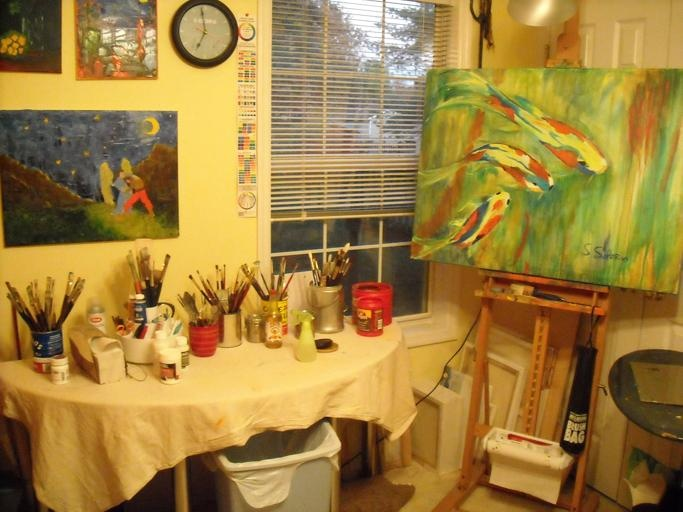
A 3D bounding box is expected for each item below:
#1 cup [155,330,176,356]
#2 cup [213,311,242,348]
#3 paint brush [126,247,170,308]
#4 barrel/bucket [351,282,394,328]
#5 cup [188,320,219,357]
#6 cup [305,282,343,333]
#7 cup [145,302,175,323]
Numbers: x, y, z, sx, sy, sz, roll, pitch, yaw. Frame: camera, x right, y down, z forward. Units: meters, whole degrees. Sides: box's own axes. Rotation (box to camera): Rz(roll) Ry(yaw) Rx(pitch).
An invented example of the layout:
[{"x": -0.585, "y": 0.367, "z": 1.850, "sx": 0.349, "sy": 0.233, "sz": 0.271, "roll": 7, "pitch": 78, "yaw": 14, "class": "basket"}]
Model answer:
[{"x": -0.777, "y": 0.379, "z": 2.510, "sx": 0.080, "sy": 0.101, "sz": 0.091, "roll": 1, "pitch": -1, "yaw": 13, "class": "cup"}, {"x": -0.536, "y": 0.338, "z": 2.767, "sx": 0.137, "sy": 0.168, "sz": 0.136, "roll": 0, "pitch": 10, "yaw": 0, "class": "cup"}, {"x": -0.896, "y": 0.095, "z": 2.702, "sx": 0.171, "sy": 0.265, "sz": 0.149, "roll": -3, "pitch": 9, "yaw": -13, "class": "paint brush"}, {"x": 0.162, "y": 0.251, "z": 3.042, "sx": 0.203, "sy": 0.241, "sz": 0.205, "roll": 1, "pitch": 3, "yaw": 0, "class": "barrel/bucket"}, {"x": -0.635, "y": 0.384, "z": 2.730, "sx": 0.136, "sy": 0.165, "sz": 0.142, "roll": 0, "pitch": 1, "yaw": 0, "class": "cup"}, {"x": -0.075, "y": 0.266, "z": 3.037, "sx": 0.207, "sy": 0.226, "sz": 0.207, "roll": 0, "pitch": 13, "yaw": 0, "class": "cup"}, {"x": -0.866, "y": 0.265, "z": 2.747, "sx": 0.125, "sy": 0.141, "sz": 0.078, "roll": 0, "pitch": 9, "yaw": -20, "class": "cup"}]
